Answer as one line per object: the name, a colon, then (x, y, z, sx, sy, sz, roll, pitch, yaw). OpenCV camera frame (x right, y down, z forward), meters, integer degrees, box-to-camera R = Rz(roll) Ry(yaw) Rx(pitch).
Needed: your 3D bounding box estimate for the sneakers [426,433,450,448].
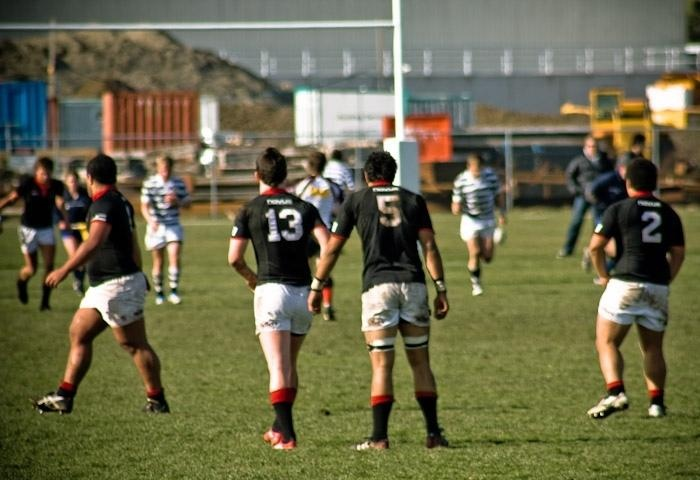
sneakers: (1.001, 2.268, 15.197, 0.107, 0.139, 0.305, 2, 2, 26)

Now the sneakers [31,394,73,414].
sneakers: (-3.429, 1.891, 15.641, 0.500, 0.280, 0.189, 7, 0, 0)

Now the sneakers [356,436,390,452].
sneakers: (0.274, 2.314, 15.248, 0.382, 0.162, 0.143, 2, -5, 4)

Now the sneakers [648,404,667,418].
sneakers: (3.629, 2.010, 15.712, 0.169, 0.150, 0.139, 27, -33, -32)

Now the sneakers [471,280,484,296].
sneakers: (1.896, 0.729, 19.771, 0.218, 0.265, 0.173, -1, -11, 5)

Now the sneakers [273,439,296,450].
sneakers: (-0.731, 2.317, 15.238, 0.199, 0.085, 0.113, 4, -1, 9)

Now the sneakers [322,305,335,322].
sneakers: (-0.288, 1.023, 18.980, 0.179, 0.310, 0.190, -5, 7, 0)

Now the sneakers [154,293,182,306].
sneakers: (-2.668, 0.888, 19.779, 0.431, 0.197, 0.164, -2, 0, 11)
